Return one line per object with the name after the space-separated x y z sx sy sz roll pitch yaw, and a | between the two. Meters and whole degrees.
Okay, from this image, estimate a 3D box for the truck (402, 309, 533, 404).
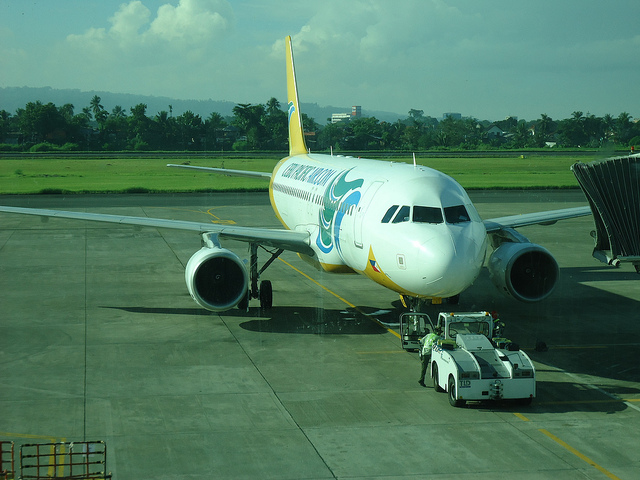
4.576 3.345 24.811 2.745 1.865 4.528 -3 11 -11 | truck
